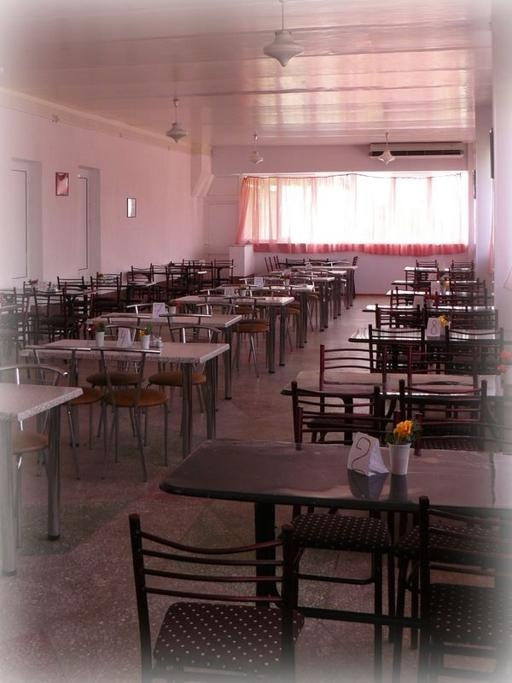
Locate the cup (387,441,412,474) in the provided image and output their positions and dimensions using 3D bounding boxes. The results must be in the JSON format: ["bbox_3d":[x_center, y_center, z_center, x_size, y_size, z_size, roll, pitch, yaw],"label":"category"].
[{"bbox_3d":[0.399,0.323,1.715,0.079,0.083,0.078,0,3,0],"label":"cup"}]

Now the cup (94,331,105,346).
[{"bbox_3d":[-1.012,-0.022,3.897,0.081,0.095,0.081,0,3,0],"label":"cup"}]
